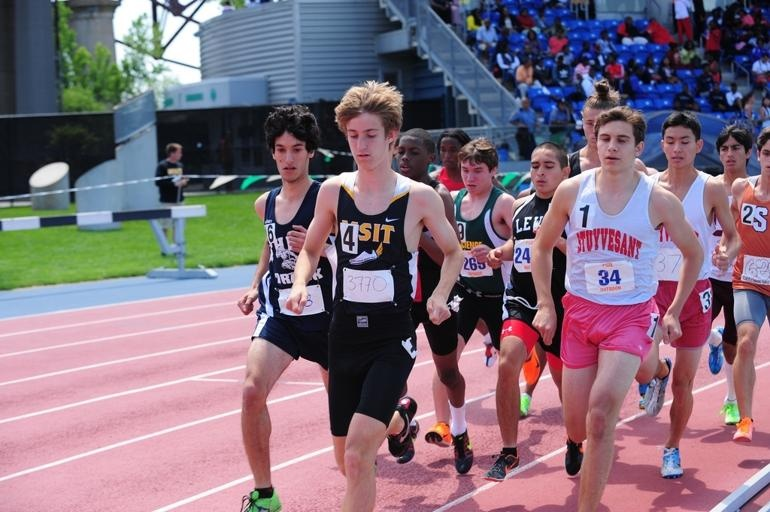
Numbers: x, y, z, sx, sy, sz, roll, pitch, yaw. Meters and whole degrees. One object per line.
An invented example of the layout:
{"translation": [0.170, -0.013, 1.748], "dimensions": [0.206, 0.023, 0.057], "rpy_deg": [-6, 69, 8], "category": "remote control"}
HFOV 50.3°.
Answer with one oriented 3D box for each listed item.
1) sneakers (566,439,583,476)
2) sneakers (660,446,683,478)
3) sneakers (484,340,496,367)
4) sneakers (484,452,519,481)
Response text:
{"translation": [1.612, 1.728, 7.059], "dimensions": [0.117, 0.362, 0.143], "rpy_deg": [3, 5, 22], "category": "sneakers"}
{"translation": [2.460, 1.787, 7.040], "dimensions": [0.118, 0.131, 0.327], "rpy_deg": [-2, 3, 19], "category": "sneakers"}
{"translation": [1.039, 0.963, 8.214], "dimensions": [0.087, 0.269, 0.113], "rpy_deg": [3, -27, 6], "category": "sneakers"}
{"translation": [0.983, 1.805, 7.013], "dimensions": [0.300, 0.254, 0.162], "rpy_deg": [-10, 14, -37], "category": "sneakers"}
